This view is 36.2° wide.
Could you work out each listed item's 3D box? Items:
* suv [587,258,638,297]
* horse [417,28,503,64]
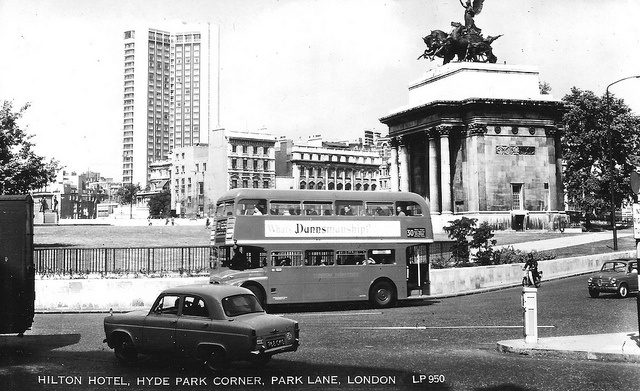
[{"bbox_3d":[20.925,5.871,70.305,3.580,2.774,1.922,1,-4,-29],"label":"suv"},{"bbox_3d":[16.010,-17.652,113.096,7.330,4.822,2.705,-2,-4,10],"label":"horse"}]
